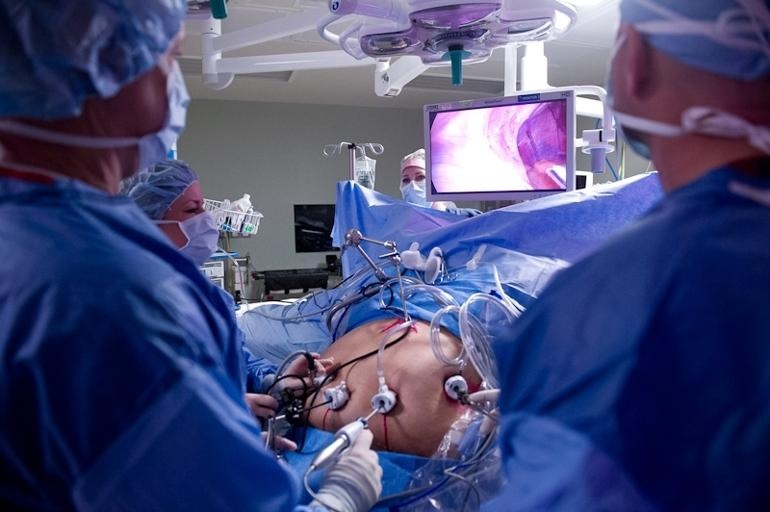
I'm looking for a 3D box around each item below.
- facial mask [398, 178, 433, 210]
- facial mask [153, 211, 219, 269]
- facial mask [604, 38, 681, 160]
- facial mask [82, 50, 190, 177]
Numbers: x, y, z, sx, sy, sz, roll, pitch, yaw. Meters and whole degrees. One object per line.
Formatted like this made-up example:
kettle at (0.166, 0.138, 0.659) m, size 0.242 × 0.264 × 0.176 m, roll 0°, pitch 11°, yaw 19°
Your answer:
facial mask at (0.149, -0.340, 3.465) m, size 0.197 × 0.124 × 0.215 m, roll 0°, pitch 1°, yaw 11°
facial mask at (-0.518, -0.051, 1.642) m, size 0.171 × 0.140 × 0.152 m, roll -8°, pitch 15°, yaw -19°
facial mask at (0.340, -0.212, 0.874) m, size 0.117 × 0.148 × 0.077 m, roll 6°, pitch 11°, yaw 9°
facial mask at (-0.375, -0.226, 1.018) m, size 0.182 × 0.144 × 0.160 m, roll -24°, pitch 34°, yaw -33°
